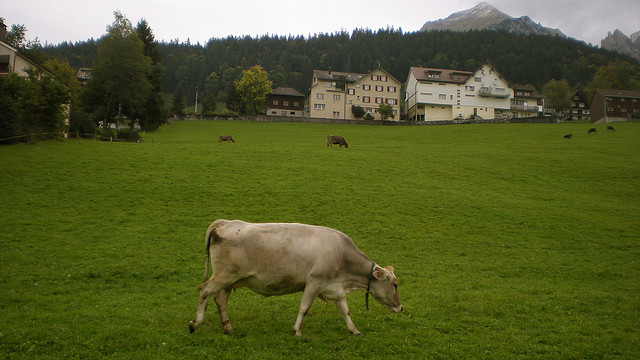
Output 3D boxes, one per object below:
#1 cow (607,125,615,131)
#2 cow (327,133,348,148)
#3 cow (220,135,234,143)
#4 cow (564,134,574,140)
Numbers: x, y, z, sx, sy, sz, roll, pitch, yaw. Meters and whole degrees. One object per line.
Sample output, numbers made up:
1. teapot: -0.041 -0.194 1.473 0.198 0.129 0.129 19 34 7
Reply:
1. cow: 49.913 -8.992 84.724 2.214 1.146 0.671 0 2 -35
2. cow: 2.170 -5.236 66.326 2.367 1.427 4.742 -1 12 -11
3. cow: -13.290 -5.795 69.024 1.565 0.878 2.466 0 12 -10
4. cow: 37.717 -6.721 75.075 1.078 0.596 2.499 9 14 34
